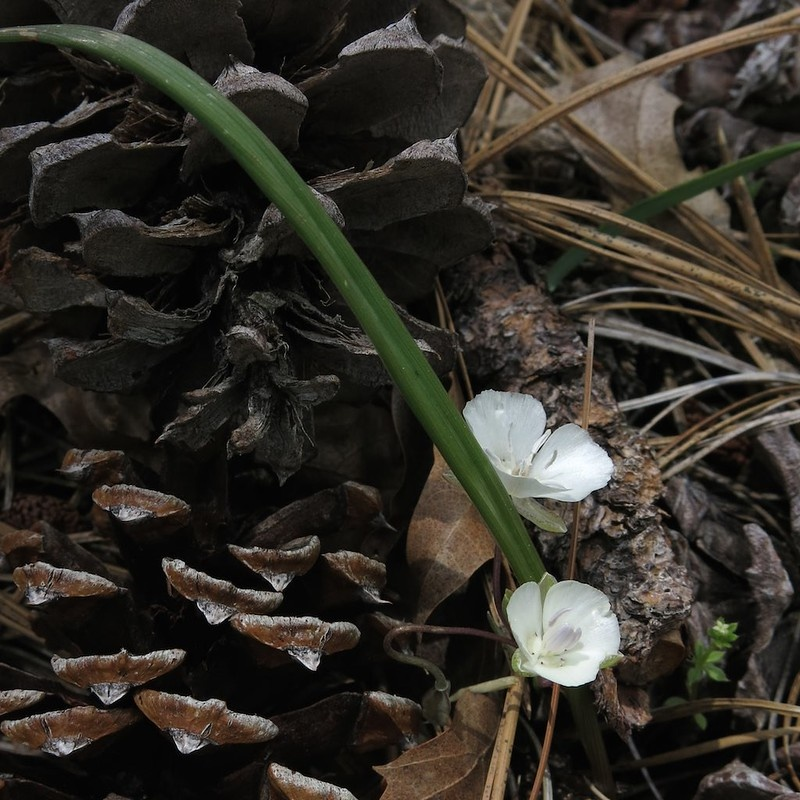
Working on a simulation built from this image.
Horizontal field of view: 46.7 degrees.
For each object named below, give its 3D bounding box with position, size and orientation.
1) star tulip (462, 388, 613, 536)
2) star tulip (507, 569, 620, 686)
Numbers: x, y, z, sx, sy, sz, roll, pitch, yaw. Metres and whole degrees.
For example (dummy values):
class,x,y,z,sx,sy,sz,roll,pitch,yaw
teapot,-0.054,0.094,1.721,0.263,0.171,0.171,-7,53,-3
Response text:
class,x,y,z,sx,sy,sz,roll,pitch,yaw
star tulip,0.146,0.076,1.090,0.177,0.096,0.212,42,18,11
star tulip,0.181,0.255,1.036,0.130,0.055,0.121,30,46,13
